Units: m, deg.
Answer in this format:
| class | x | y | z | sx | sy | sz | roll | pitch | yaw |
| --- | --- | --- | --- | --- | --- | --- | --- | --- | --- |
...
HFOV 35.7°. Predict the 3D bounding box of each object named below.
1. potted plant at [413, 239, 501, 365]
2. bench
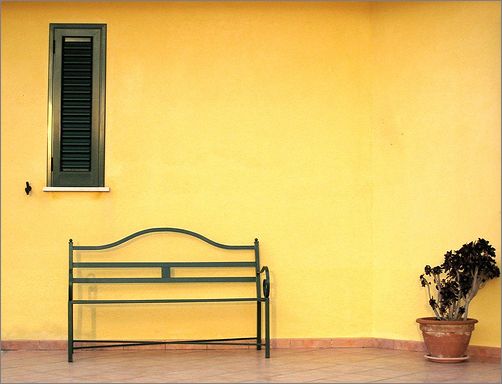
| class | x | y | z | sx | sy | sz | roll | pitch | yaw |
| --- | --- | --- | --- | --- | --- | --- | --- | --- | --- |
| potted plant | 2.111 | 1.092 | 7.927 | 0.816 | 1.213 | 0.559 | 0 | -1 | 11 |
| bench | -0.896 | 1.130 | 8.494 | 2.138 | 1.340 | 0.688 | -1 | -8 | -2 |
